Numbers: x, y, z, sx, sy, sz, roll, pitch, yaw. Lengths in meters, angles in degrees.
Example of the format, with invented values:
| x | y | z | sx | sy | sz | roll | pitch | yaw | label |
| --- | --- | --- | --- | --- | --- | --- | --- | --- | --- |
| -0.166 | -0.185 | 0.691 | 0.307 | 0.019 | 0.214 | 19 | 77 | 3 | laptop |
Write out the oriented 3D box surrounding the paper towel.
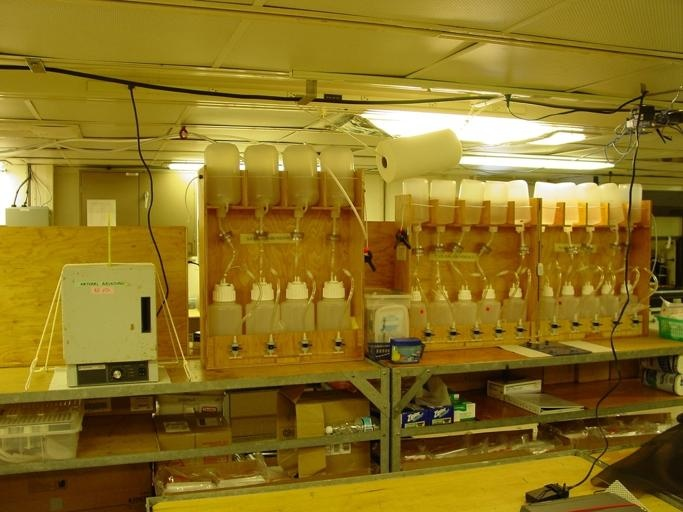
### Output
| x | y | z | sx | sy | sz | roll | pitch | yaw | label |
| --- | --- | --- | --- | --- | --- | --- | --- | --- | --- |
| 0.425 | -0.555 | 3.236 | 0.476 | 0.290 | 0.236 | 1 | 10 | -2 | paper towel |

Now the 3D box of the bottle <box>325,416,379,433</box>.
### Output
| x | y | z | sx | sy | sz | roll | pitch | yaw | label |
| --- | --- | --- | --- | --- | --- | --- | --- | --- | --- |
| 0.060 | 0.967 | 3.363 | 0.345 | 0.086 | 0.093 | -2 | -7 | -12 | bottle |

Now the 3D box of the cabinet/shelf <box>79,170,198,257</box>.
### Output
| x | y | z | sx | sy | sz | roll | pitch | yaw | label |
| --- | --- | --- | --- | --- | --- | --- | --- | --- | --- |
| -2.097 | -0.481 | 5.913 | 1.343 | 0.982 | 0.426 | 0 | 3 | -8 | cabinet/shelf |

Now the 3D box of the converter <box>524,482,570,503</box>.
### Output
| x | y | z | sx | sy | sz | roll | pitch | yaw | label |
| --- | --- | --- | --- | --- | --- | --- | --- | --- | --- |
| 0.703 | 0.793 | 2.023 | 0.133 | 0.045 | 0.069 | -2 | 2 | -21 | converter |

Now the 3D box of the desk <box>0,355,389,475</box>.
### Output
| x | y | z | sx | sy | sz | roll | pitch | yaw | label |
| --- | --- | --- | --- | --- | --- | --- | --- | --- | --- |
| -0.774 | 0.913 | 3.278 | 2.080 | 0.596 | 0.433 | -1 | 11 | -15 | desk |

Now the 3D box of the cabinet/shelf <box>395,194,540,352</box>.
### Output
| x | y | z | sx | sy | sz | roll | pitch | yaw | label |
| --- | --- | --- | --- | --- | --- | --- | --- | --- | --- |
| 0.799 | 0.119 | 3.887 | 1.271 | 1.002 | 0.375 | -1 | -1 | -12 | cabinet/shelf |
